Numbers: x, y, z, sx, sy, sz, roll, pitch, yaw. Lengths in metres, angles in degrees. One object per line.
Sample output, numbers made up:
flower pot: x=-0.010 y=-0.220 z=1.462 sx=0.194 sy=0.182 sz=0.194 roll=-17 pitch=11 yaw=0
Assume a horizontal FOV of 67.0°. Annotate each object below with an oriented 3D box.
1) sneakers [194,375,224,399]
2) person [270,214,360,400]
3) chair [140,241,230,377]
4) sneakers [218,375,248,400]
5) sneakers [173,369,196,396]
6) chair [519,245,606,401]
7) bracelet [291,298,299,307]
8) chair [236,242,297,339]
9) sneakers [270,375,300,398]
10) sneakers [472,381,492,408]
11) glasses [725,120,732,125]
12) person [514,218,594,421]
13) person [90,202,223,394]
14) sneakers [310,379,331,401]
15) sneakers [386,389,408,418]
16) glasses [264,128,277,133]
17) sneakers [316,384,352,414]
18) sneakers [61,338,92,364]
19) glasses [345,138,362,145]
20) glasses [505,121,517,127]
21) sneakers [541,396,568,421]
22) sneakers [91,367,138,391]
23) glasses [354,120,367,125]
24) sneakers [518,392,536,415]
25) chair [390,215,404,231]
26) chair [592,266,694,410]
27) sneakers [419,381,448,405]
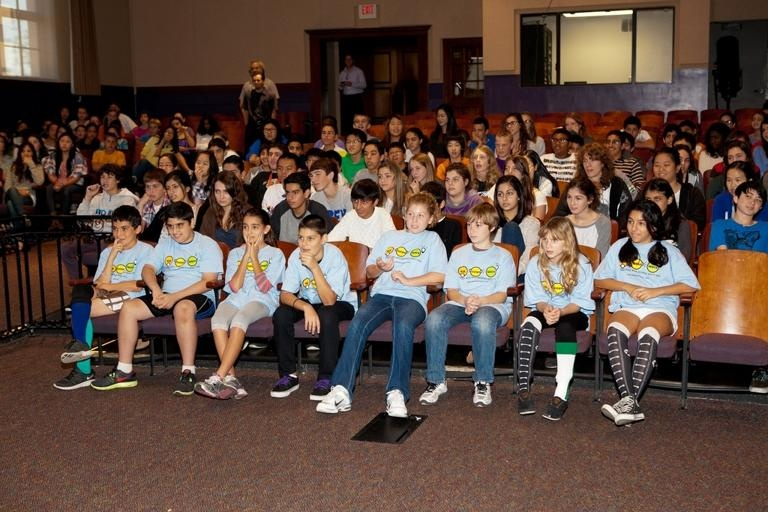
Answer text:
sneakers: x=-1.308 y=0.971 z=4.300 sx=0.110 sy=0.113 sz=0.237 roll=26 pitch=4 yaw=32
person: x=-0.569 y=0.462 z=4.497 sx=0.570 sy=1.109 sz=0.670 roll=4 pitch=15 yaw=19
chair: x=-1.710 y=0.274 z=4.790 sx=0.677 sy=1.540 sz=0.821 roll=1 pitch=-4 yaw=-10
sneakers: x=-1.132 y=0.989 z=4.377 sx=0.101 sy=0.133 sz=0.277 roll=-24 pitch=-29 yaw=20
sneakers: x=-1.523 y=0.979 z=4.440 sx=0.102 sy=0.130 sz=0.289 roll=2 pitch=-4 yaw=0
chair: x=1.444 y=0.319 z=4.557 sx=0.618 sy=0.963 sz=0.829 roll=0 pitch=0 yaw=16
bracelet: x=-0.691 y=0.360 z=4.488 sx=0.051 sy=0.042 sz=0.051 roll=0 pitch=-8 yaw=-23
chair: x=-1.047 y=0.211 z=4.798 sx=0.408 sy=0.634 sz=0.354 roll=-1 pitch=2 yaw=25
sneakers: x=-0.761 y=0.997 z=4.464 sx=0.096 sy=0.122 sz=0.270 roll=-2 pitch=-4 yaw=21
sneakers: x=0.720 y=0.990 z=4.228 sx=0.149 sy=0.178 sz=0.161 roll=1 pitch=14 yaw=8
glasses: x=5.364 y=-2.064 z=9.000 sx=0.110 sy=0.101 sz=0.458 roll=7 pitch=17 yaw=30
person: x=1.234 y=0.408 z=4.169 sx=0.521 sy=1.284 sz=0.800 roll=4 pitch=15 yaw=21
person: x=-1.824 y=0.302 z=4.679 sx=0.927 sy=1.455 sz=1.034 roll=1 pitch=2 yaw=-13
sneakers: x=-0.479 y=0.990 z=4.296 sx=0.082 sy=0.097 sz=0.233 roll=-1 pitch=-8 yaw=9
sneakers: x=0.085 y=1.025 z=4.098 sx=0.141 sy=0.156 sz=0.233 roll=-2 pitch=15 yaw=-3
glasses: x=-1.679 y=-1.863 z=8.584 sx=0.180 sy=0.076 sz=0.122 roll=-6 pitch=15 yaw=-16
sneakers: x=-0.342 y=1.033 z=4.204 sx=0.122 sy=0.189 sz=0.307 roll=-3 pitch=-9 yaw=44
sneakers: x=-2.413 y=0.748 z=4.613 sx=0.121 sy=0.145 sz=0.288 roll=-1 pitch=13 yaw=36
glasses: x=-0.362 y=-1.478 z=7.393 sx=0.124 sy=0.094 sz=0.238 roll=13 pitch=20 yaw=42
glasses: x=1.651 y=-1.729 z=7.589 sx=0.126 sy=0.077 sz=0.026 roll=3 pitch=14 yaw=15
sneakers: x=1.184 y=1.052 z=4.029 sx=0.088 sy=0.104 sz=0.249 roll=-2 pitch=2 yaw=29
sneakers: x=-2.128 y=0.981 z=4.654 sx=0.377 sy=0.188 sz=0.144 roll=3 pitch=0 yaw=-19
glasses: x=-0.368 y=-2.074 z=9.028 sx=0.225 sy=0.062 sz=0.051 roll=-12 pitch=18 yaw=-36
sneakers: x=1.008 y=1.030 z=4.097 sx=0.124 sy=0.130 sz=0.176 roll=2 pitch=15 yaw=12
chair: x=0.132 y=-0.319 z=5.499 sx=0.136 sy=0.194 sz=0.127 roll=-1 pitch=8 yaw=-11
chair: x=1.787 y=0.360 z=4.067 sx=0.772 sy=0.489 sz=1.068 roll=6 pitch=37 yaw=25
sneakers: x=0.367 y=1.005 z=4.283 sx=0.093 sy=0.132 sz=0.274 roll=5 pitch=7 yaw=33
